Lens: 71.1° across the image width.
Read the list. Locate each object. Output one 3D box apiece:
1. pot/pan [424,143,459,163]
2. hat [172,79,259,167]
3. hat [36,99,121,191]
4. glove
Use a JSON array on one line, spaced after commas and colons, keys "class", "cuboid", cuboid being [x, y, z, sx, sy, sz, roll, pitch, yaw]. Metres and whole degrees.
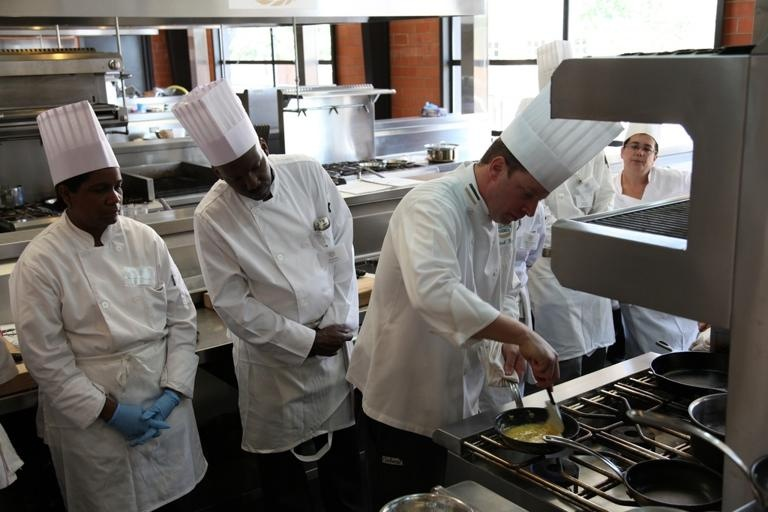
[{"class": "pot/pan", "cuboid": [0.508, -0.891, 4.717, 0.208, 0.127, 0.208, -2, 10, -3]}, {"class": "hat", "cuboid": [-0.689, -0.520, 2.040, 0.248, 0.240, 0.264, 11, 40, 21]}, {"class": "hat", "cuboid": [-1.212, -0.418, 1.990, 0.286, 0.260, 0.331, 5, 25, 28]}, {"class": "glove", "cuboid": [-0.829, 0.573, 1.894, 0.248, 0.156, 0.113, -14, 19, -29]}]
